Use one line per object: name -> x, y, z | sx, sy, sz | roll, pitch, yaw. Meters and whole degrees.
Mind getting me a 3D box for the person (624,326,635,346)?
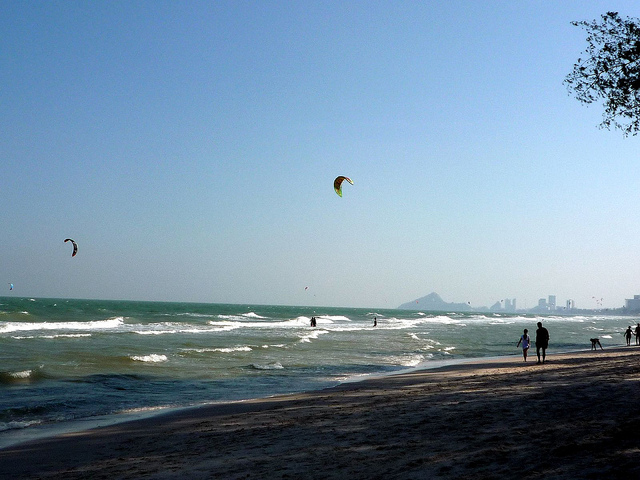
person -> 18.815, 5.858, 29.333 | 0.666, 1.110, 0.258 | 6, 0, 18
